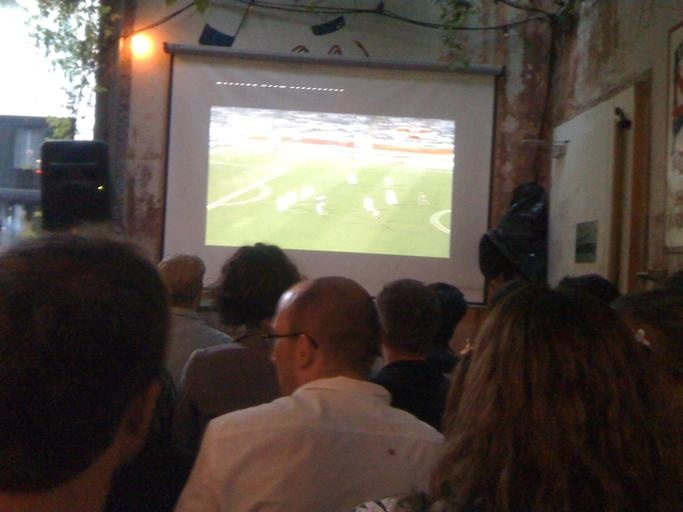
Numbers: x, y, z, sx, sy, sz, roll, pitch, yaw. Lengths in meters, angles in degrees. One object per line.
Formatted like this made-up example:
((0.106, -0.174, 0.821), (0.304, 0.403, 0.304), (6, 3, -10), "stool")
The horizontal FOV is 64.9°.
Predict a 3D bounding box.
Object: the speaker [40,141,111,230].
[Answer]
((-1.829, -0.506, 3.686), (0.428, 0.445, 0.151), (1, 0, -5), "speaker")
